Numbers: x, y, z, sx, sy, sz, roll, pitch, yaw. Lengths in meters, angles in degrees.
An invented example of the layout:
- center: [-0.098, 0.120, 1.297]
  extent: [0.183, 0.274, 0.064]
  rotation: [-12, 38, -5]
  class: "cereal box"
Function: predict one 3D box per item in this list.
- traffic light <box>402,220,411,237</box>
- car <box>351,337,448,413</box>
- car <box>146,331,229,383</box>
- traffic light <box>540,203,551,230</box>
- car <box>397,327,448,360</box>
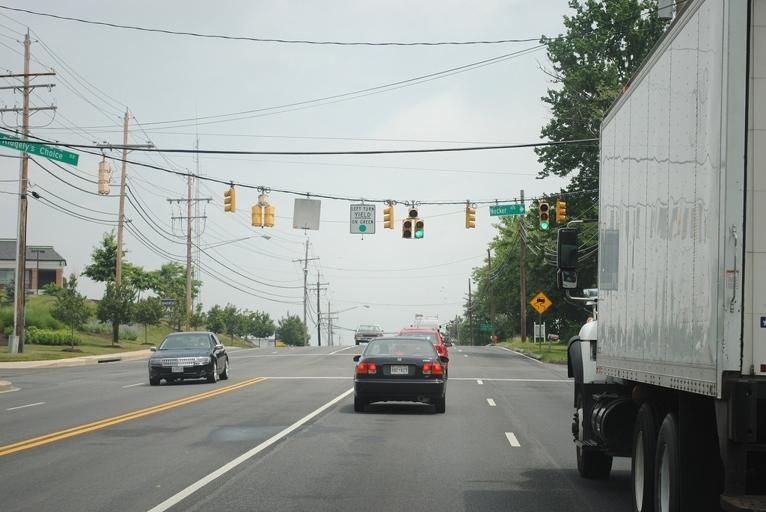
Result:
- center: [0.980, -1.190, 36.475]
  extent: [0.323, 0.792, 0.161]
  rotation: [7, -10, -42]
  class: "traffic light"
- center: [0.388, 2.739, 20.657]
  extent: [2.067, 1.702, 1.046]
  rotation: [0, -8, 0]
  class: "car"
- center: [-6.557, 3.398, 30.022]
  extent: [2.257, 1.892, 2.273]
  rotation: [1, -9, -9]
  class: "car"
- center: [6.344, -1.707, 35.130]
  extent: [0.309, 1.172, 1.227]
  rotation: [-1, -9, 7]
  class: "traffic light"
- center: [1.496, 2.809, 31.111]
  extent: [1.165, 1.151, 2.768]
  rotation: [0, -2, 4]
  class: "car"
